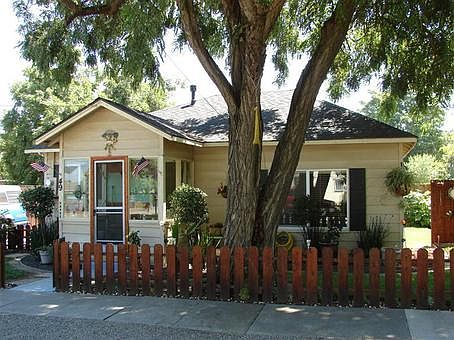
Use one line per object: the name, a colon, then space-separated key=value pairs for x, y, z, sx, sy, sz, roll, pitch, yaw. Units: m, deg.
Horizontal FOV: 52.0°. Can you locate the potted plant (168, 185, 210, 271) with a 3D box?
potted plant: x=-0.977 y=1.594 z=12.930 sx=0.936 sy=1.850 sz=0.808 roll=-7 pitch=3 yaw=23

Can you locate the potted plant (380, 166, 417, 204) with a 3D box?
potted plant: x=5.257 y=0.387 z=14.247 sx=0.827 sy=0.914 sz=0.895 roll=2 pitch=-5 yaw=-21

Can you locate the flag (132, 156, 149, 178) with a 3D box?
flag: x=-2.489 y=-0.112 z=13.405 sx=0.525 sy=0.582 sz=0.318 roll=2 pitch=-5 yaw=6

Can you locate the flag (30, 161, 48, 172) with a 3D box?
flag: x=-7.533 y=-0.143 z=18.694 sx=0.566 sy=0.524 sz=0.082 roll=37 pitch=-29 yaw=-6

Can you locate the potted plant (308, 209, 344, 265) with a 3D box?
potted plant: x=3.001 y=1.837 z=14.051 sx=1.253 sy=1.561 sz=0.795 roll=6 pitch=-6 yaw=-35

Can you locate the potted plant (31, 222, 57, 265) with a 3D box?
potted plant: x=-5.593 y=2.202 z=14.358 sx=0.759 sy=1.231 sz=1.374 roll=5 pitch=-5 yaw=-31
